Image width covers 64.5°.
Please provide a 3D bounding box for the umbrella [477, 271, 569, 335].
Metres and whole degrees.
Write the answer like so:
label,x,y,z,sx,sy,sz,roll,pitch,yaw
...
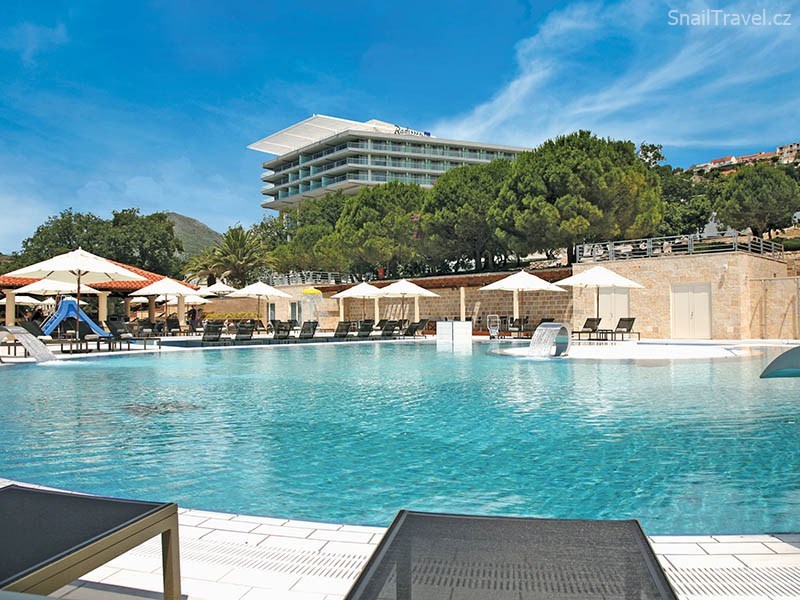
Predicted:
label,x,y,z,sx,sy,sz,roll,pitch,yaw
umbrella,5.304,0.034,28.016,3.253,2.061,3.029,-1,-1,4
